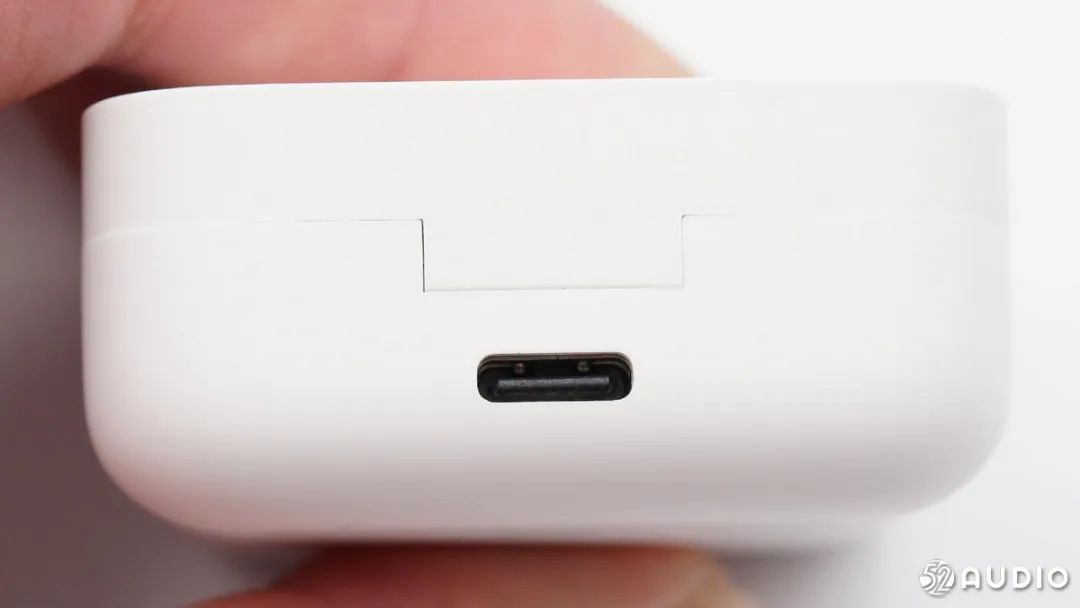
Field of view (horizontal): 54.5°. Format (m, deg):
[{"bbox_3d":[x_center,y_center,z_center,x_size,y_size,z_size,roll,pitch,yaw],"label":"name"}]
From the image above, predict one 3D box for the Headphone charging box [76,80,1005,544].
[{"bbox_3d":[-0.013,-0.005,0.741,0.436,0.187,0.412,0,-1,-2],"label":"Headphone charging box"}]
